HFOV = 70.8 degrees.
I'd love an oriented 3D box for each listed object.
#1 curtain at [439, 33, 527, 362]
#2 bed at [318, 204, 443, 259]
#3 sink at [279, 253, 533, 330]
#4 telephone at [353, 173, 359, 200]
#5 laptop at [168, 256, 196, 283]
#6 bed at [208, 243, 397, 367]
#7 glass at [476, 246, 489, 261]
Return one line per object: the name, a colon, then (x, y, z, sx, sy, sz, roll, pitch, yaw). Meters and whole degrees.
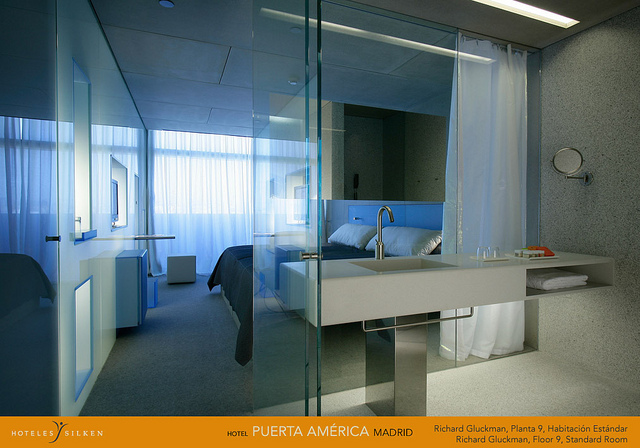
curtain: (1.623, -0.119, 4.234, 0.258, 3.057, 1.193, -18, 24, -14)
bed: (0.554, 0.052, 3.674, 1.043, 0.432, 0.412, -4, 6, -35)
sink: (0.679, 0.539, 4.133, 1.153, 0.405, 2.157, -2, -2, 0)
telephone: (0.284, -0.295, 3.521, 0.049, 0.199, 0.020, -1, 5, -11)
laptop: (-2.087, 0.676, 6.850, 0.406, 0.384, 0.368, 4, -1, -14)
bed: (-0.241, 0.757, 4.845, 1.704, 0.383, 1.101, 1, 2, -25)
glass: (1.308, 0.232, 3.610, 0.103, 0.112, 0.099, 0, 3, -20)
